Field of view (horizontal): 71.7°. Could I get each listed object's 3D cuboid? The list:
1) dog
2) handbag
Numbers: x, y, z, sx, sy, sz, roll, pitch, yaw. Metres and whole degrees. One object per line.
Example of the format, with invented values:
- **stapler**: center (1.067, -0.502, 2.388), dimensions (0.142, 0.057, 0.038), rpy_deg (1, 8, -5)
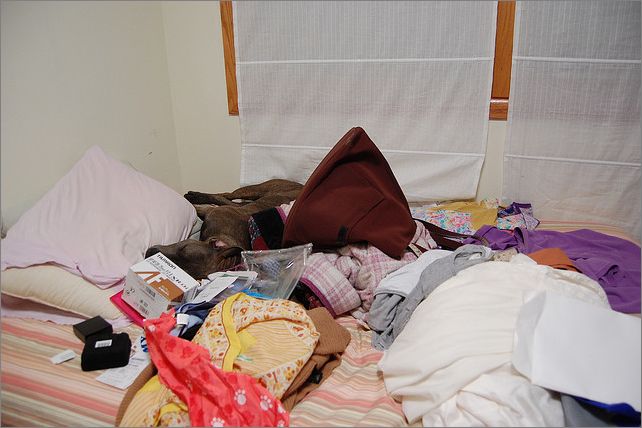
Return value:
- **dog**: center (-0.434, 0.011, 2.688), dimensions (1.118, 0.371, 0.428), rpy_deg (-25, -5, -25)
- **handbag**: center (0.270, -0.008, 2.308), dimensions (0.792, 0.341, 0.793), rpy_deg (36, 53, 18)
